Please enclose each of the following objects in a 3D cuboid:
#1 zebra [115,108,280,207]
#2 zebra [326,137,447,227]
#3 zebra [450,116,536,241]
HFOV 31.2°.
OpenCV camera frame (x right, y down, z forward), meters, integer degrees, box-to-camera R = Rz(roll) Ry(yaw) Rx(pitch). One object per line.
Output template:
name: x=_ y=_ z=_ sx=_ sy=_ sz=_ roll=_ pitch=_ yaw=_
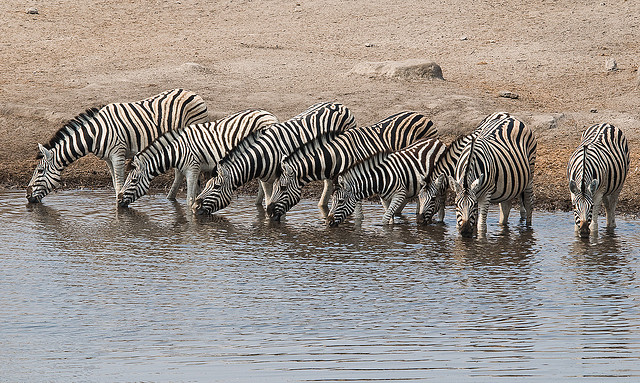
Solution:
zebra: x=-2.496 y=-0.548 z=23.992 sx=4.101 sy=1.591 sz=1.055 roll=-12 pitch=18 yaw=-37
zebra: x=1.338 y=0.031 z=22.730 sx=1.031 sy=1.521 sz=3.474 roll=11 pitch=19 yaw=42
zebra: x=3.371 y=-0.285 z=21.921 sx=1.046 sy=2.144 sz=2.196 roll=6 pitch=11 yaw=37
